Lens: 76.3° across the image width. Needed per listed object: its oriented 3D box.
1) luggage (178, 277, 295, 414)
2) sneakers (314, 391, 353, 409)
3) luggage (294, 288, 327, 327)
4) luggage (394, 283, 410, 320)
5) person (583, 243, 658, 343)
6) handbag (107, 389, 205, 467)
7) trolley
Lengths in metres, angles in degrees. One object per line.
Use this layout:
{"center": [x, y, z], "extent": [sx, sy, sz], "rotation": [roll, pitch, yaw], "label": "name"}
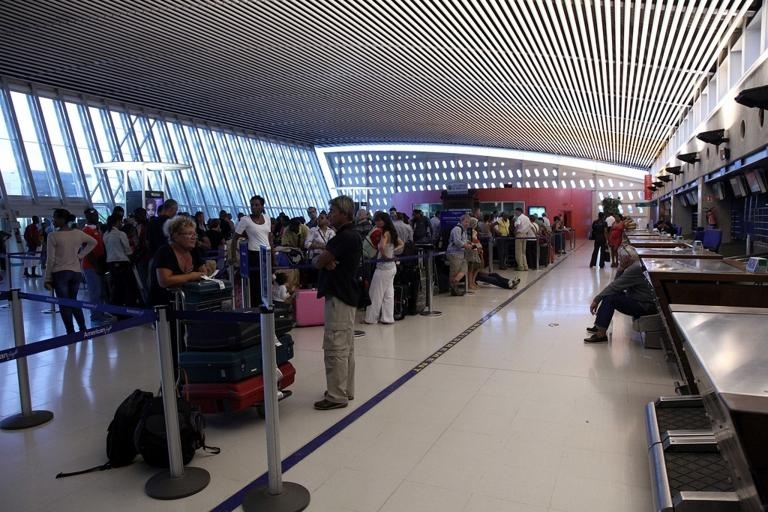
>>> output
{"center": [-1.450, 0.922, 4.763], "extent": [0.795, 1.448, 1.456], "rotation": [2, 0, 12], "label": "luggage"}
{"center": [-0.520, 1.555, 5.265], "extent": [0.399, 0.173, 0.147], "rotation": [3, -3, -3], "label": "sneakers"}
{"center": [-1.302, 0.881, 8.337], "extent": [0.600, 0.589, 0.323], "rotation": [2, -5, -44], "label": "luggage"}
{"center": [0.328, 0.839, 8.808], "extent": [0.398, 0.585, 0.398], "rotation": [2, -2, 27], "label": "luggage"}
{"center": [3.320, 0.578, 6.816], "extent": [0.843, 1.345, 0.402], "rotation": [5, 13, 27], "label": "person"}
{"center": [-2.051, 1.536, 4.565], "extent": [0.769, 0.721, 0.597], "rotation": [-1, 11, -8], "label": "handbag"}
{"center": [-1.660, 1.052, 5.244], "extent": [0.812, 1.122, 1.128], "rotation": [-5, 0, 5], "label": "trolley"}
